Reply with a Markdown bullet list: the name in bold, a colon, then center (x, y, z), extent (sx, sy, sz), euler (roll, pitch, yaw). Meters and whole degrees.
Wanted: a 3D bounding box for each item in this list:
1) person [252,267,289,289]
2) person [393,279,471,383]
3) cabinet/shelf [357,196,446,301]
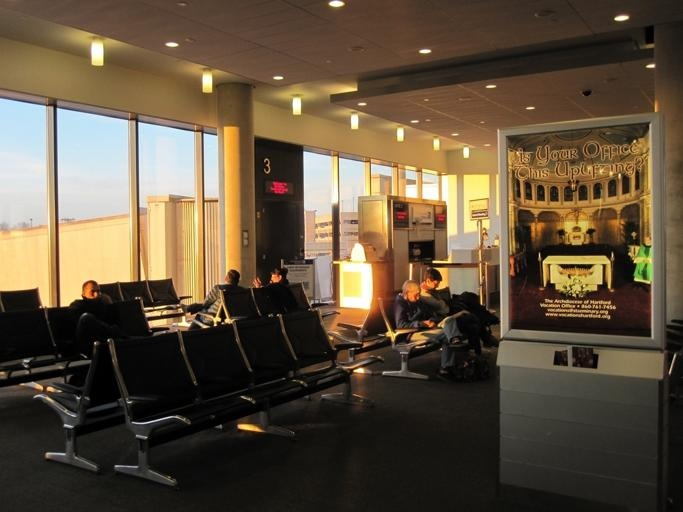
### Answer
- **person**: center (-1.297, 0.336, 8.495), extent (0.880, 0.314, 0.492), euler (-2, -1, 12)
- **person**: center (1.489, 0.855, 6.697), extent (1.385, 1.269, 0.815), euler (-7, -5, 29)
- **cabinet/shelf**: center (1.319, -0.242, 12.514), extent (1.188, 2.532, 3.265), euler (-2, -1, 32)
